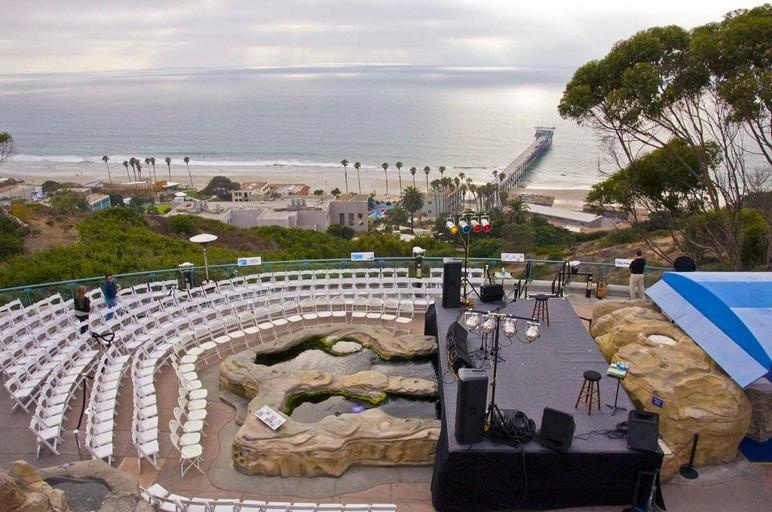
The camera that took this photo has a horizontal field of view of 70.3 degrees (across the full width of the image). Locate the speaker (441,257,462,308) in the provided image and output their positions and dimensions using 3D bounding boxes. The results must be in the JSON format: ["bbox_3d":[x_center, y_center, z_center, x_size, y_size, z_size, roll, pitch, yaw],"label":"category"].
[{"bbox_3d":[2.261,0.949,18.729,0.842,2.253,1.321,2,11,4],"label":"speaker"}]

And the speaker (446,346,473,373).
[{"bbox_3d":[2.114,2.891,15.681,0.542,0.473,0.909,3,11,2],"label":"speaker"}]

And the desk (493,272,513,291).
[{"bbox_3d":[4.819,1.036,22.475,0.743,0.794,0.784,0,8,-2],"label":"desk"}]

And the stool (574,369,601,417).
[{"bbox_3d":[5.500,3.769,14.836,0.761,1.347,0.764,9,21,34],"label":"stool"}]

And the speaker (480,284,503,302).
[{"bbox_3d":[3.694,1.298,19.233,0.801,0.596,0.579,-5,18,-17],"label":"speaker"}]

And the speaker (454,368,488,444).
[{"bbox_3d":[2.130,3.796,13.680,0.748,1.822,0.496,0,14,4],"label":"speaker"}]

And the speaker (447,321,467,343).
[{"bbox_3d":[2.264,2.348,16.753,0.470,0.610,0.621,18,12,-18],"label":"speaker"}]

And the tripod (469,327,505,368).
[{"bbox_3d":[3.069,2.790,16.611,1.085,1.073,1.104,0,16,5],"label":"tripod"}]
